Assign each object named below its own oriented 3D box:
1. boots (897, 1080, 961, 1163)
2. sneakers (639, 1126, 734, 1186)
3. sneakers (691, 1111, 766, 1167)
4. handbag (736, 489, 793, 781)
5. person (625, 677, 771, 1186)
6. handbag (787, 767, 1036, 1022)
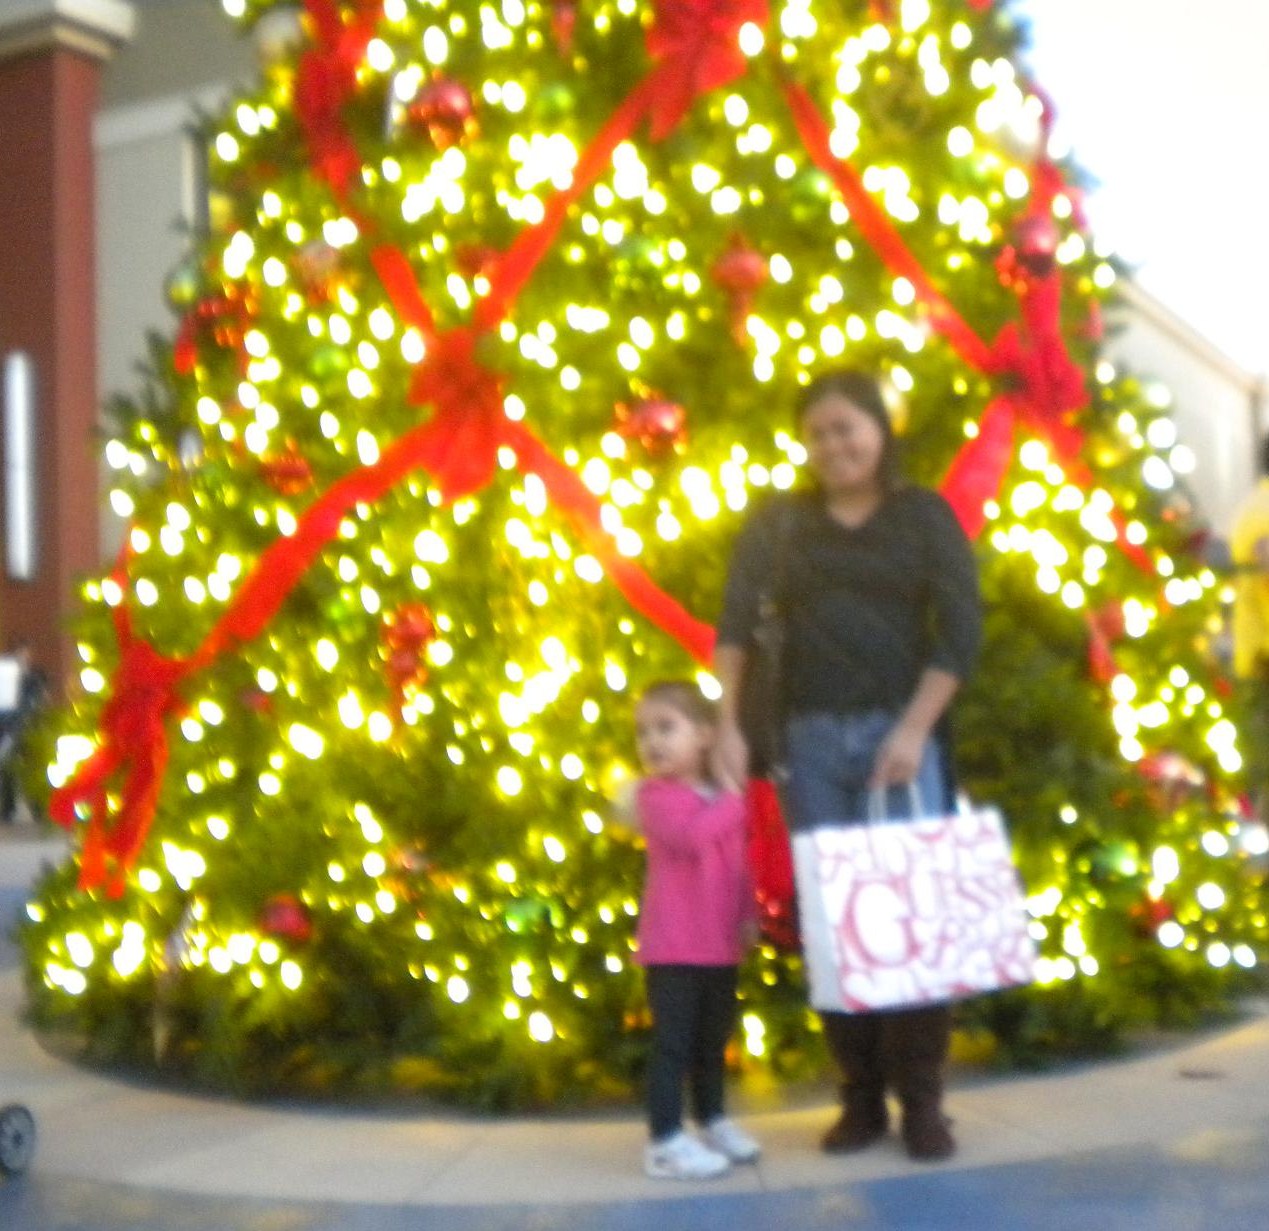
[{"bbox_3d":[0.521,0.914,2.658,0.056,0.072,0.172,-3,-3,-2],"label":"boots"},{"bbox_3d":[0.086,0.945,2.619,0.130,0.065,0.074,1,5,6],"label":"sneakers"},{"bbox_3d":[0.170,0.962,2.748,0.053,0.058,0.137,-7,9,-40],"label":"sneakers"},{"bbox_3d":[0.258,0.002,2.852,0.129,0.609,0.067,8,-12,-32],"label":"handbag"},{"bbox_3d":[0.089,0.561,2.763,0.250,0.868,0.282,-1,-2,-29],"label":"person"},{"bbox_3d":[0.481,0.462,2.598,0.400,0.401,0.130,-1,-6,-26],"label":"handbag"}]
